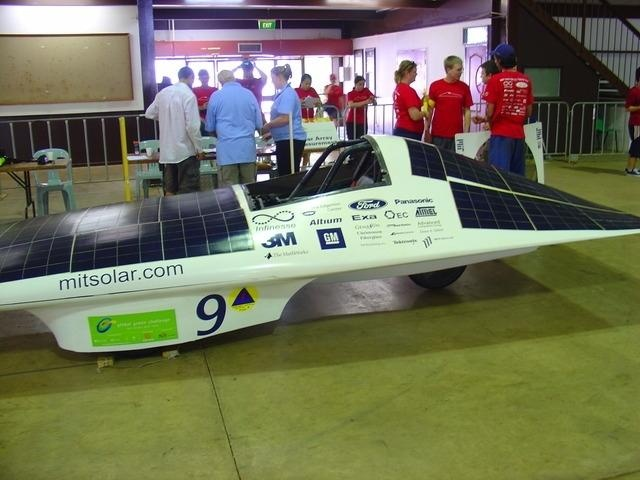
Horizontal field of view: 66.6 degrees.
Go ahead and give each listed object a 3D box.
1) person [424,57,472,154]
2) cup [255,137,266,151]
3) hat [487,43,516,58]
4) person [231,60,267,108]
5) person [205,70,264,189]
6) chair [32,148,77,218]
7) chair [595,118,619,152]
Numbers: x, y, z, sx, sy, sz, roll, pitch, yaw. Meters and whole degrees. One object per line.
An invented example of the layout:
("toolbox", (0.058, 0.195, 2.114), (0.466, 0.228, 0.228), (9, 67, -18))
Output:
("person", (1.681, -1.509, 6.433), (0.605, 1.665, 0.371), (-2, 32, 6))
("cup", (-0.869, -1.402, 7.258), (0.160, 0.218, 0.068), (-7, 23, -39))
("hat", (2.079, -2.139, 5.533), (0.192, 0.167, 0.330), (0, 15, 12))
("person", (-1.382, -2.720, 9.337), (0.717, 1.489, 0.435), (1, -24, -11))
("person", (-1.089, -1.249, 6.196), (0.722, 1.726, 0.584), (-14, 43, -24))
("chair", (-3.557, -0.716, 6.544), (0.613, 0.816, 0.619), (-6, 2, 11))
("chair", (6.868, -2.516, 11.606), (0.529, 0.706, 0.511), (-1, 4, 21))
